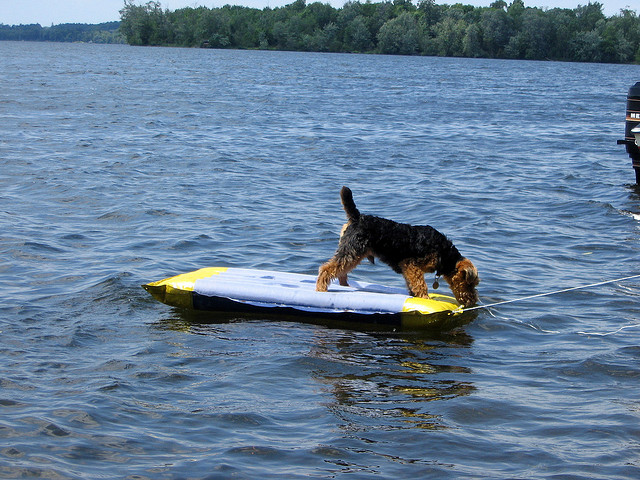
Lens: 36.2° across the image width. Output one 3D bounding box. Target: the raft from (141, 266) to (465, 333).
[{"bbox_3d":[-0.278,0.819,14.993,4.626,0.310,1.398,5,16,13],"label":"raft"}]
